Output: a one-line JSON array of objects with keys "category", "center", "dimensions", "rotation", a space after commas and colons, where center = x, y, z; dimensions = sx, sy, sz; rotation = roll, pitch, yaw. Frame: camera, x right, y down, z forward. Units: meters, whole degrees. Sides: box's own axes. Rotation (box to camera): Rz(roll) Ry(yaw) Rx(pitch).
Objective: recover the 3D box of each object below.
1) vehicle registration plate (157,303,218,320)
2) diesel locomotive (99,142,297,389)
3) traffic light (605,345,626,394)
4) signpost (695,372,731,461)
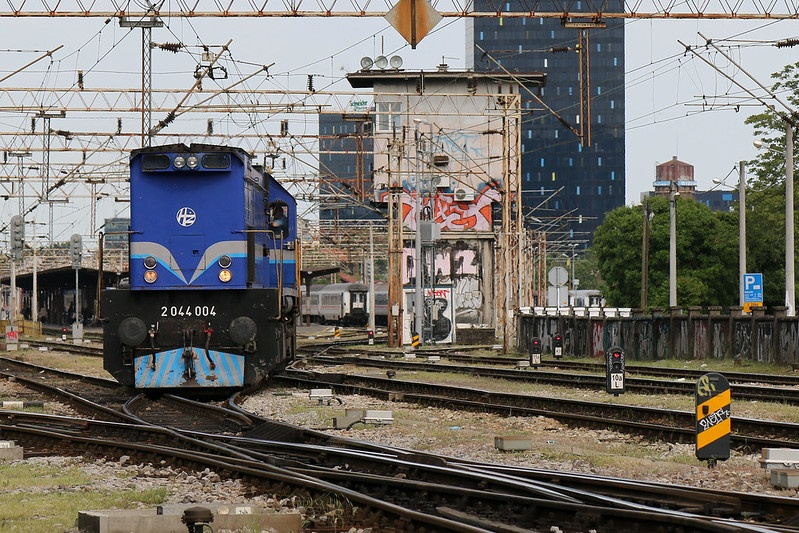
[{"category": "vehicle registration plate", "center": [-5.507, 1.190, 33.251], "dimensions": [1.421, 0.328, 0.263], "rotation": [0, -2, -14]}, {"category": "diesel locomotive", "center": [-5.313, 0.091, 34.161], "dimensions": [5.391, 6.517, 2.869], "rotation": [0, -2, -22]}, {"category": "traffic light", "center": [5.863, 2.845, 34.394], "dimensions": [0.442, 1.294, 0.843], "rotation": [-1, -2, 5]}, {"category": "signpost", "center": [6.730, 3.265, 27.347], "dimensions": [0.702, 1.912, 0.415], "rotation": [-1, -2, 11]}]
